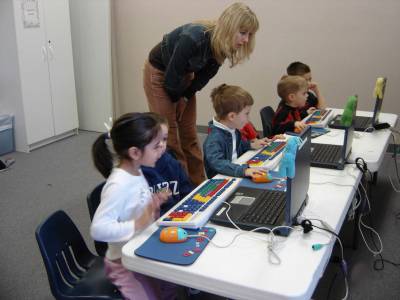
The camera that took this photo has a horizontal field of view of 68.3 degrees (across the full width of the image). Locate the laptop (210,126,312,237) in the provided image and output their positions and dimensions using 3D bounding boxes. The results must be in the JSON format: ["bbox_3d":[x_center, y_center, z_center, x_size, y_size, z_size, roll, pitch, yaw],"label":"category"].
[{"bbox_3d":[0.281,0.086,1.282,0.348,0.350,0.473,4,12,22],"label":"laptop"}]

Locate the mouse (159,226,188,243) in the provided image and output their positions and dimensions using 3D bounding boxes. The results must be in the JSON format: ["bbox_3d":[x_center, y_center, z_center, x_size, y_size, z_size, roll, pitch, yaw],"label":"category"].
[{"bbox_3d":[-0.101,0.310,1.079,0.073,0.040,0.054,-3,49,3],"label":"mouse"}]

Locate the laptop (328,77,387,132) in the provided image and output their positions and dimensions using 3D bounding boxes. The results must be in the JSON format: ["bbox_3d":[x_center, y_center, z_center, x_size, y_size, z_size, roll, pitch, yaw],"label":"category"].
[{"bbox_3d":[1.280,-0.327,2.540,0.481,0.539,0.637,4,10,21],"label":"laptop"}]
